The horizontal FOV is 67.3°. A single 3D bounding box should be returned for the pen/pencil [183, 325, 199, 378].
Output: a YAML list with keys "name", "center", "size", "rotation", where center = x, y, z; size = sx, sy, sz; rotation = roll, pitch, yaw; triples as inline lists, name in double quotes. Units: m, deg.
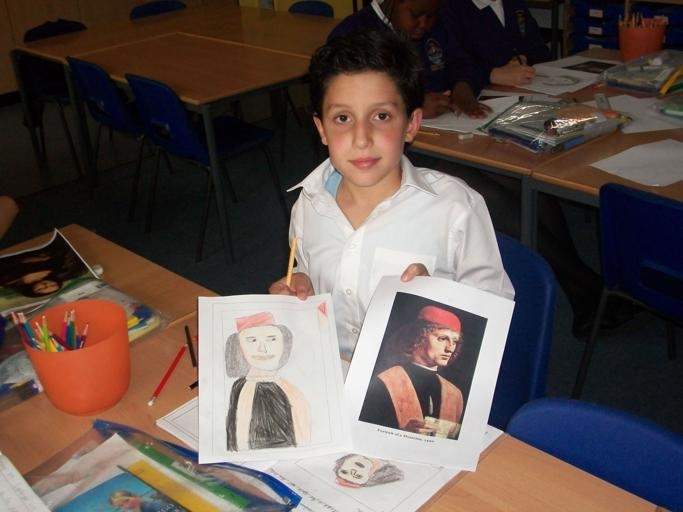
- name: "pen/pencil"
  center: [-0.295, 0.179, 1.017]
  size: [0.021, 0.022, 0.189]
  rotation: [-24, 39, 5]

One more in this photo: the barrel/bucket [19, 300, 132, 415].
- name: "barrel/bucket"
  center: [-0.448, 0.174, 0.897]
  size: [0.158, 0.155, 0.143]
  rotation: [-18, 31, -25]

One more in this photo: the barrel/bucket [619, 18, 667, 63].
- name: "barrel/bucket"
  center: [1.393, -1.018, 2.471]
  size: [0.221, 0.239, 0.200]
  rotation: [3, 21, 18]
